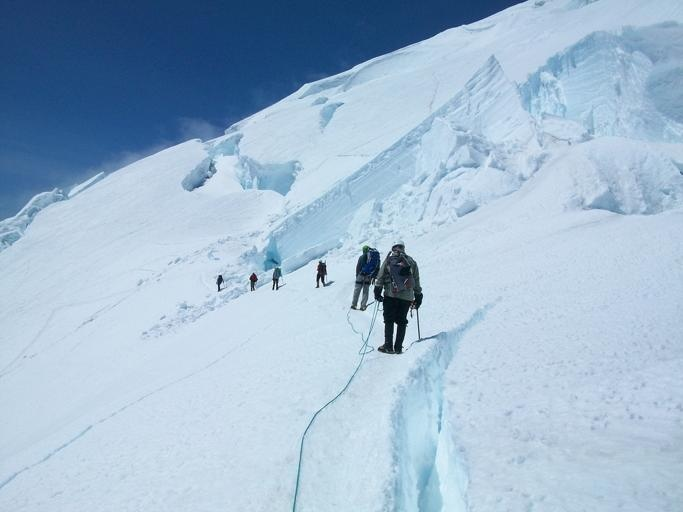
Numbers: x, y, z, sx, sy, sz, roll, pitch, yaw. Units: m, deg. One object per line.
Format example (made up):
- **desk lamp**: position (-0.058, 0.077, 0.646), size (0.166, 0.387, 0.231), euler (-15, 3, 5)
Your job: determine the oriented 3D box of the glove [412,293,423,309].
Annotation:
- **glove**: position (2.875, 1.742, 28.526), size (0.377, 0.548, 0.145), euler (4, 8, -13)
